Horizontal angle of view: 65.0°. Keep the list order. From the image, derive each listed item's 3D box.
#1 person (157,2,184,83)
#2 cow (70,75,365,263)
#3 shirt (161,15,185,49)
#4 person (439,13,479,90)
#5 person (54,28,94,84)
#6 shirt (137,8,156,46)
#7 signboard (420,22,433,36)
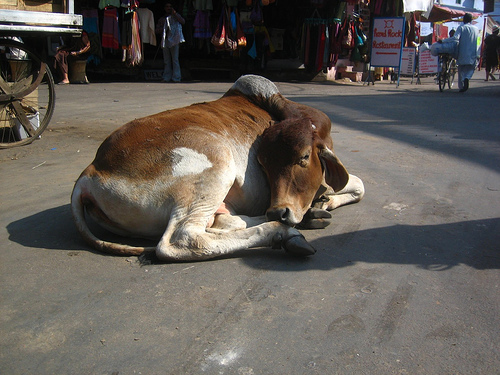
[{"bbox_3d":[-2.689,-4.934,13.352,0.853,2.634,1.193,-4,15,-16],"label":"person"},{"bbox_3d":[-0.183,-0.085,2.685,1.664,0.856,1.199,-5,14,-34],"label":"cow"},{"bbox_3d":[-2.629,-5.323,13.140,0.794,1.029,0.649,11,27,36],"label":"shirt"},{"bbox_3d":[7.140,-4.550,13.185,1.011,2.473,1.249,-4,10,0],"label":"person"},{"bbox_3d":[-5.671,-4.123,12.459,1.209,1.584,0.895,-7,15,-23],"label":"person"},{"bbox_3d":[-3.695,-5.715,13.968,0.561,1.214,0.267,-5,15,-16],"label":"shirt"},{"bbox_3d":[13.662,-12.226,30.356,0.616,0.906,1.441,9,17,32],"label":"signboard"}]
